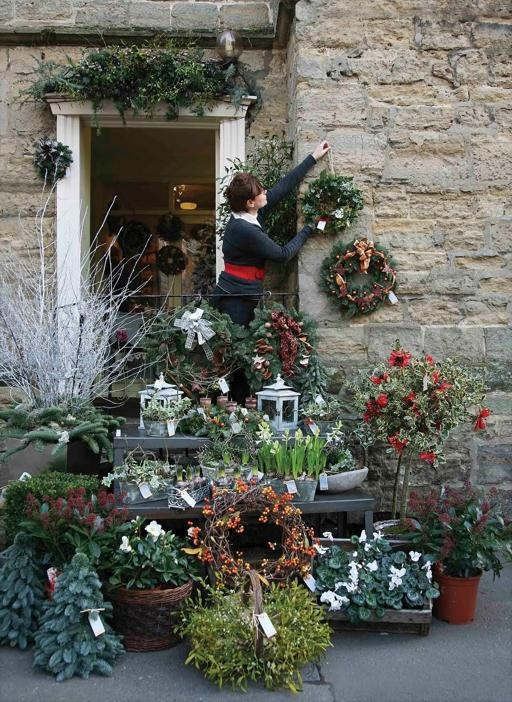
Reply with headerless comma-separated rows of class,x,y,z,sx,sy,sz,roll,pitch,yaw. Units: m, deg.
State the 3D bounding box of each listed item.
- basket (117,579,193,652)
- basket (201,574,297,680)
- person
basket,-0.407,1.014,2.489,0.251,0.173,0.267,0,-12,-5
basket,0.004,1.018,2.318,0.379,0.199,0.371,-1,3,-19
person,0.104,-0.401,3.647,0.710,1.871,0.638,-5,40,-7
